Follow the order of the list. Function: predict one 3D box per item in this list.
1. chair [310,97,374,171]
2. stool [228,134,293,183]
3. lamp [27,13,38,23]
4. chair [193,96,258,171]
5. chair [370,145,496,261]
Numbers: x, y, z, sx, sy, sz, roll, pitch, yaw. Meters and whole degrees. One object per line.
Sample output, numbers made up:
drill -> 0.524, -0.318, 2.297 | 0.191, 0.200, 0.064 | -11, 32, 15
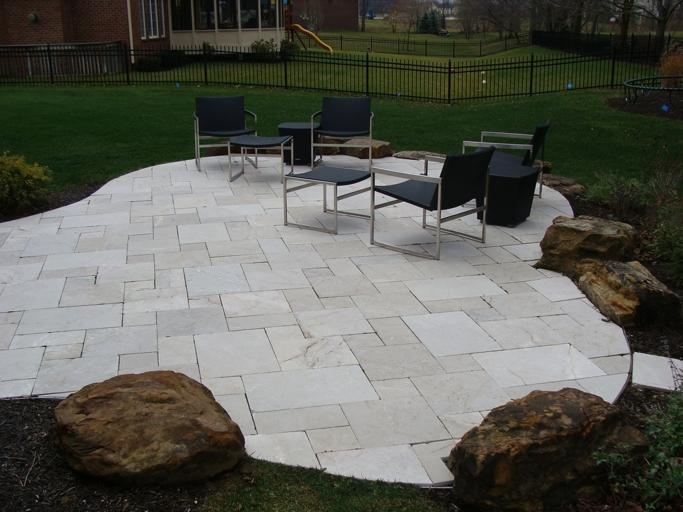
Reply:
chair -> 0.094, -2.386, 9.941 | 1.305, 1.037, 1.006 | 2, 7, -4
stool -> -1.405, -1.745, 9.210 | 1.049, 0.520, 0.618 | -3, 17, 1
lamp -> -13.031, -10.075, 21.882 | 0.538, 0.403, 0.114 | -2, 7, -23
chair -> -2.058, -2.218, 9.388 | 1.101, 1.038, 0.760 | 1, 29, -12
chair -> 0.992, -0.820, 6.699 | 1.776, 1.420, 1.382 | 14, 24, 39
